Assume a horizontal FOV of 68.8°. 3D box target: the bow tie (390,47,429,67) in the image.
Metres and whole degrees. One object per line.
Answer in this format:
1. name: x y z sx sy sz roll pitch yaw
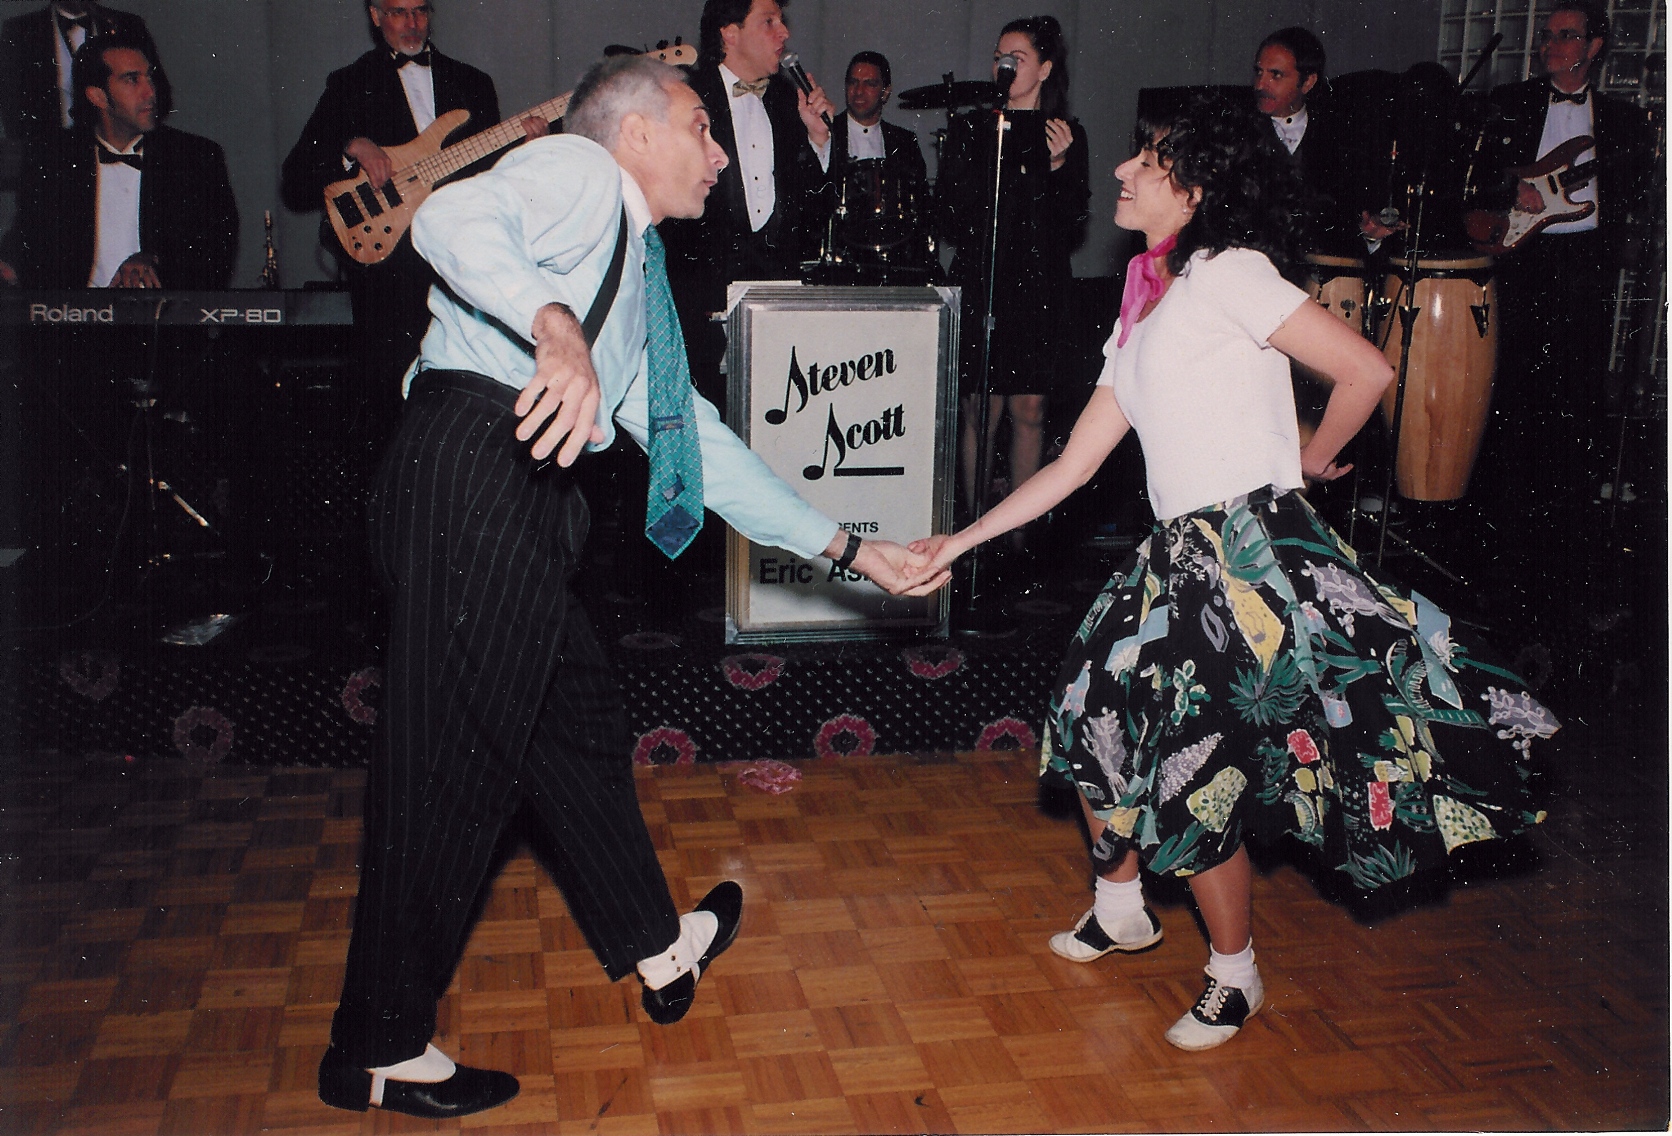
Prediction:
1. bow tie: -1.809 -2.169 5.203 0.099 0.038 0.080 6 13 24

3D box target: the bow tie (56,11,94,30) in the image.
1. bow tie: -3.026 -2.175 4.836 0.077 0.061 0.082 21 32 26

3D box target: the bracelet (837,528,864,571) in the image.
1. bracelet: 0.032 -0.046 2.856 0.051 0.080 0.082 25 35 15

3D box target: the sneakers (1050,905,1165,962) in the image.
1. sneakers: 0.649 0.884 2.967 0.222 0.102 0.126 -2 3 -1

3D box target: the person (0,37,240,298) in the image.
1. person: -2.761 -1.538 4.632 0.734 0.898 0.348 -1 20 1

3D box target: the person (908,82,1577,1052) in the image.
1. person: 0.902 0.028 2.580 1.020 1.922 0.584 0 20 5

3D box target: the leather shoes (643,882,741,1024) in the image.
1. leather shoes: -0.325 0.863 2.841 0.105 0.129 0.330 15 29 9

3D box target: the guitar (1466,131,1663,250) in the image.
1. guitar: 2.941 -1.684 5.203 0.302 0.103 0.801 -3 50 -10

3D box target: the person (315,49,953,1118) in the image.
1. person: -0.555 0.030 2.484 0.686 1.999 1.097 7 22 23
